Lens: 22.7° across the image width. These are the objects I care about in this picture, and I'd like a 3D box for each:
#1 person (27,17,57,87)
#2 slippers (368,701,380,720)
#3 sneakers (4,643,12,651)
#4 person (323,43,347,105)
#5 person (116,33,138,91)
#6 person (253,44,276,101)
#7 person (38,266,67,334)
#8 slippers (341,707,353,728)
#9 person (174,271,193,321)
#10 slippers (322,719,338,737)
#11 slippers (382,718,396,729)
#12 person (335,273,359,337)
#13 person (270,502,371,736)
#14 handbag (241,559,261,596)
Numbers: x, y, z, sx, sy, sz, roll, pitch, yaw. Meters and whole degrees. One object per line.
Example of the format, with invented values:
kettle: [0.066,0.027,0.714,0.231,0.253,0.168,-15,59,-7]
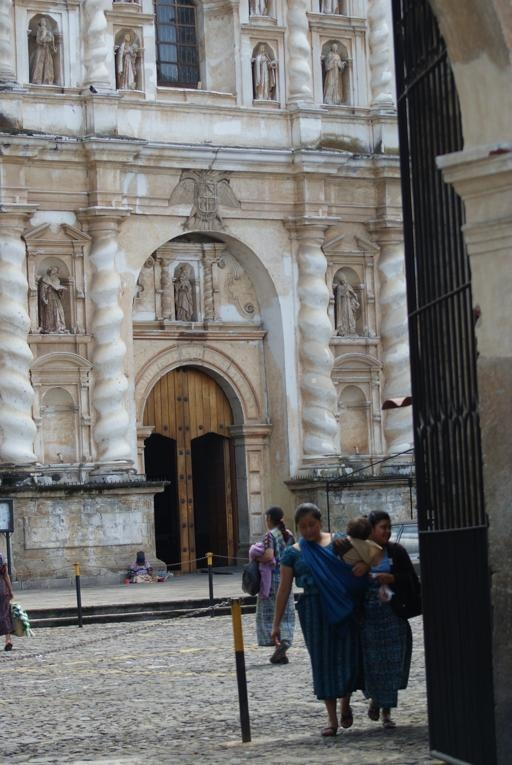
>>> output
person: [-4.134,-6.433,24.761,0.591,1.479,0.439,-5,-4,-2]
slippers: [0.760,2.133,8.286,0.068,0.070,0.179,1,-30,1]
sneakers: [-2.822,3.020,14.540,0.050,0.049,0.122,2,0,-1]
person: [1.708,-6.814,28.066,0.352,1.466,0.677,-8,-5,38]
person: [-2.599,-6.467,25.641,0.347,1.257,0.540,-7,-4,25]
person: [0.188,-6.424,26.945,0.613,1.031,0.233,-2,-5,-33]
person: [-3.938,-1.587,24.605,0.522,1.283,0.269,-4,-4,-13]
slippers: [0.569,2.141,8.120,0.060,0.162,0.039,-10,-43,20]
person: [-1.502,-1.858,26.607,0.476,1.108,0.183,-2,-5,-40]
slippers: [0.463,2.175,8.005,0.111,0.095,0.270,0,-13,3]
slippers: [0.836,2.168,8.101,0.041,0.068,0.112,7,-31,-7]
person: [1.960,-1.701,27.691,0.699,1.381,0.349,-3,-5,-31]
person: [0.420,1.507,8.212,0.437,1.466,0.719,-4,-4,-16]
handbag: [-0.043,1.912,12.406,0.176,0.351,0.399,-5,-4,-1]
